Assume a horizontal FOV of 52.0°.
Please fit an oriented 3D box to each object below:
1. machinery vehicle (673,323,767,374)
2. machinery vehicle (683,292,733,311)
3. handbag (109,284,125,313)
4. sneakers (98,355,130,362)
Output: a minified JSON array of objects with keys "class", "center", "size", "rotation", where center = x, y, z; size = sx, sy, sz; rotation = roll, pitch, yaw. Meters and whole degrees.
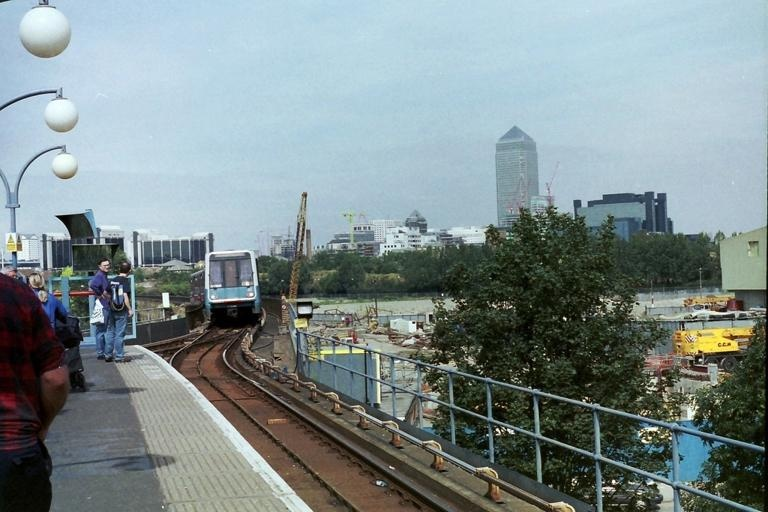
[{"class":"machinery vehicle","center":[26.964,7.539,64.789],"size":[6.178,4.030,3.802],"rotation":[-2,0,-12]},{"class":"machinery vehicle","center":[43.822,6.145,105.989],"size":[7.803,1.829,2.310],"rotation":[-3,6,-31]},{"class":"handbag","center":[-6.304,0.984,18.665],"size":[0.330,0.603,0.394],"rotation":[-2,0,-20]},{"class":"sneakers","center":[-7.115,2.688,20.726],"size":[0.499,0.207,0.151],"rotation":[7,-1,0]}]
